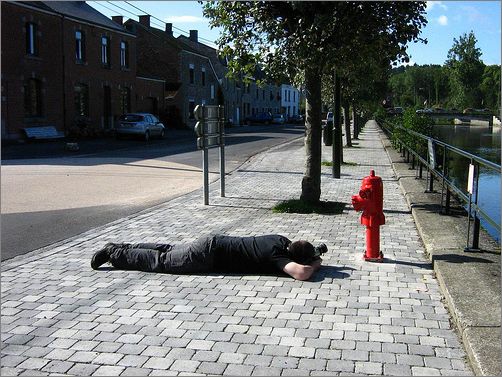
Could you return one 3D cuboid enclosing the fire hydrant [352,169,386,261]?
[{"bbox_3d":[1.659,0.365,6.528,0.460,1.263,0.451,1,10,10],"label":"fire hydrant"}]

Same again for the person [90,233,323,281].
[{"bbox_3d":[-0.533,0.882,5.981,2.099,0.377,1.180,-1,-2,2],"label":"person"}]

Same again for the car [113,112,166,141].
[{"bbox_3d":[-7.085,-4.042,30.176,2.016,1.726,3.675,4,11,25],"label":"car"}]

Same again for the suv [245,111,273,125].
[{"bbox_3d":[1.114,-10.078,66.681,3.925,1.702,1.999,-2,10,-9],"label":"suv"}]

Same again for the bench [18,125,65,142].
[{"bbox_3d":[-12.403,-3.195,27.311,0.915,0.806,2.375,1,10,8],"label":"bench"}]
